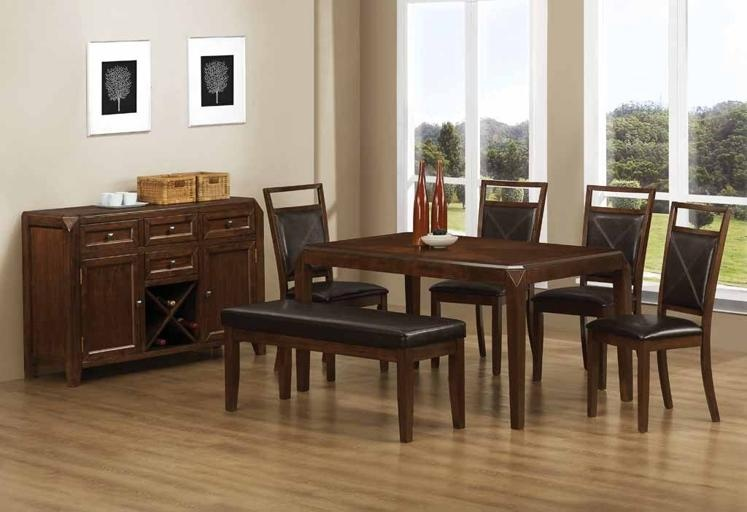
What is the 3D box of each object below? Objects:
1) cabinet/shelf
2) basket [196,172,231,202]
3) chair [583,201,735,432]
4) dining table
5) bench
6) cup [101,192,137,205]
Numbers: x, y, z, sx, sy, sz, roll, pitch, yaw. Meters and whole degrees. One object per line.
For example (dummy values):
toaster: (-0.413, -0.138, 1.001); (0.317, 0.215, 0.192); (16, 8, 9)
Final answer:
cabinet/shelf: (-1.816, 0.199, 5.185); (0.673, 1.150, 1.836); (3, 6, 32)
basket: (-1.323, -0.578, 5.230); (0.212, 0.262, 0.378); (6, 9, 38)
chair: (1.737, 0.322, 3.839); (0.722, 1.281, 0.893); (4, 7, 36)
dining table: (0.590, 0.453, 4.482); (2.068, 1.000, 1.481); (4, 7, 44)
bench: (-0.183, 0.649, 3.852); (1.491, 0.657, 0.497); (2, 7, 25)
cup: (-1.957, -0.437, 4.890); (0.130, 0.076, 0.196); (3, 6, 42)
